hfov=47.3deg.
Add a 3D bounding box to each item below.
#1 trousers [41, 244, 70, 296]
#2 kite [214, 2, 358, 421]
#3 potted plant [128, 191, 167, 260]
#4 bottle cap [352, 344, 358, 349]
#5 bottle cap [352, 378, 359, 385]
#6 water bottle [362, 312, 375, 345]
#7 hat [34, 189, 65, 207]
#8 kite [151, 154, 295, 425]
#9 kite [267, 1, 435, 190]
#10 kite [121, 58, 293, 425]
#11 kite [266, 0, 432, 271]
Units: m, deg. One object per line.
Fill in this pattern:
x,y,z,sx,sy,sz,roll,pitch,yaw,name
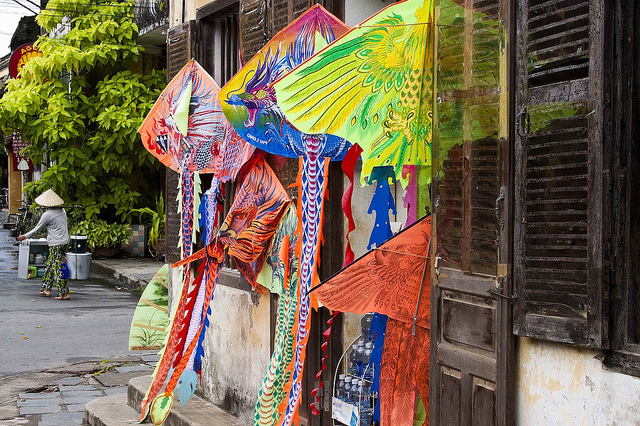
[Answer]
-5.210,1.118,14.440,0.457,1.010,1.024,7,-6,-28,trousers
-0.259,-0.030,5.805,1.113,3.380,0.283,18,19,34,kite
-4.397,0.367,18.423,1.200,1.731,1.397,-2,4,-41,potted plant
0.278,1.064,5.787,0.045,0.044,0.051,1,3,15,bottle cap
0.269,1.298,5.613,0.029,0.037,0.045,1,5,-7,bottle cap
0.367,0.905,5.756,0.068,0.260,0.150,10,-10,-35,water bottle
-5.477,-0.300,14.764,0.506,0.356,0.357,8,-7,-23,hat
-0.966,0.985,6.624,0.426,2.906,0.884,5,24,-37,kite
0.245,-0.826,5.227,1.175,1.517,0.205,0,12,-3,kite
-0.982,-0.065,6.604,0.547,4.204,1.403,11,-4,-41,kite
0.374,-0.784,5.244,1.306,1.983,0.198,13,11,-1,kite
